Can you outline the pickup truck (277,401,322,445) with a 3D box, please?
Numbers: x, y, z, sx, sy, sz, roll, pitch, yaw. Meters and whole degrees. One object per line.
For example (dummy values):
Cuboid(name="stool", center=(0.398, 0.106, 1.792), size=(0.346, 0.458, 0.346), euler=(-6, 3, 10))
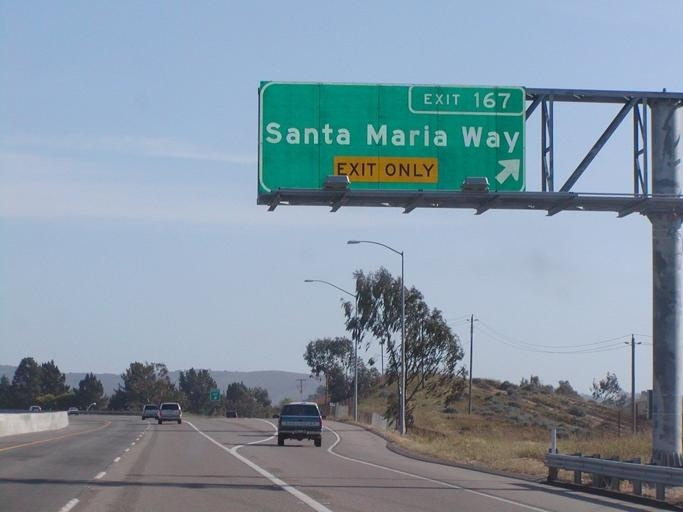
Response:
Cuboid(name="pickup truck", center=(-2.113, 8.522, 74.732), size=(2.152, 2.534, 2.343), euler=(2, -13, -4))
